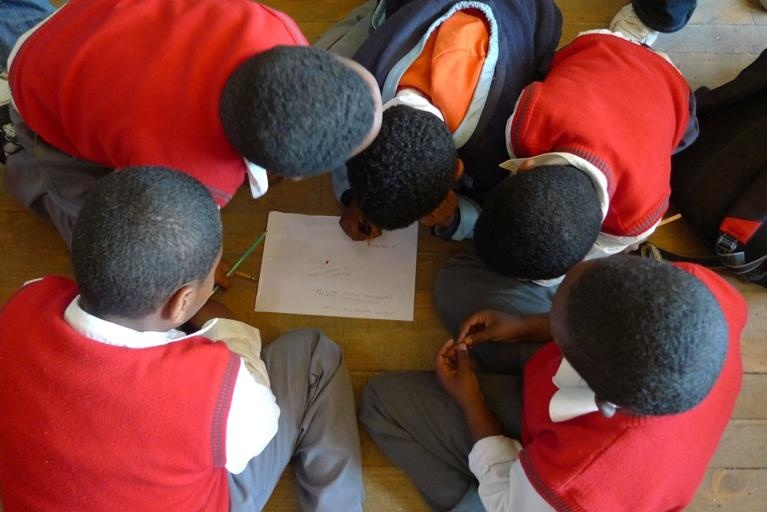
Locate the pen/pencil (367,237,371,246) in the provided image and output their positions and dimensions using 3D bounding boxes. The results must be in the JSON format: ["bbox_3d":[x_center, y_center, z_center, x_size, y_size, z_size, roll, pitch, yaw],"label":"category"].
[{"bbox_3d":[-0.041,-0.040,1.957,0.020,0.005,0.021,2,85,-5],"label":"pen/pencil"}]

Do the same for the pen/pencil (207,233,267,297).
[{"bbox_3d":[-0.387,0.033,1.864,0.208,0.013,0.014,-53,128,-13],"label":"pen/pencil"}]
